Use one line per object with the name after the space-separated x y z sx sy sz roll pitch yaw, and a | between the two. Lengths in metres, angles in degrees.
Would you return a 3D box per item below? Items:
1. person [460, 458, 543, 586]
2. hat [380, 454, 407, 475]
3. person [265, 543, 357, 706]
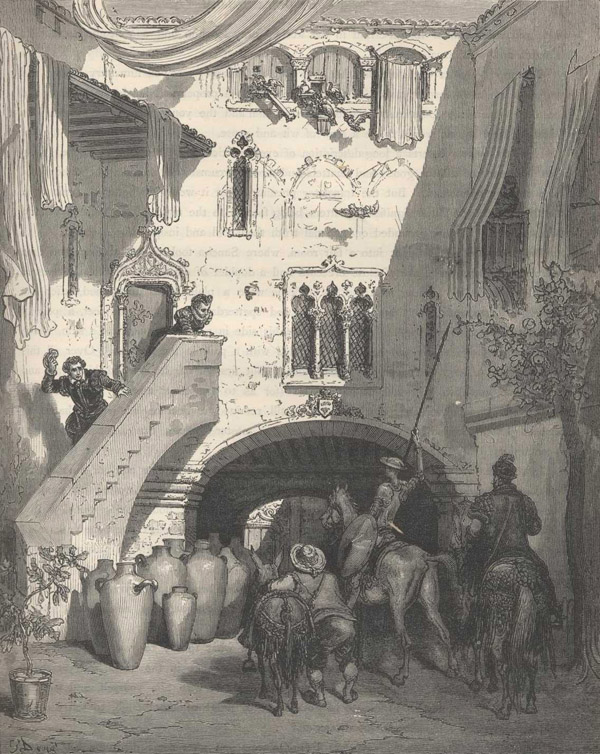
1.763 1.280 15.152 0.679 1.110 0.942 2 0 8 | person
0.820 0.745 15.139 0.151 0.058 0.157 27 8 -19 | hat
0.130 1.934 13.478 0.644 1.193 0.817 2 0 6 | person
